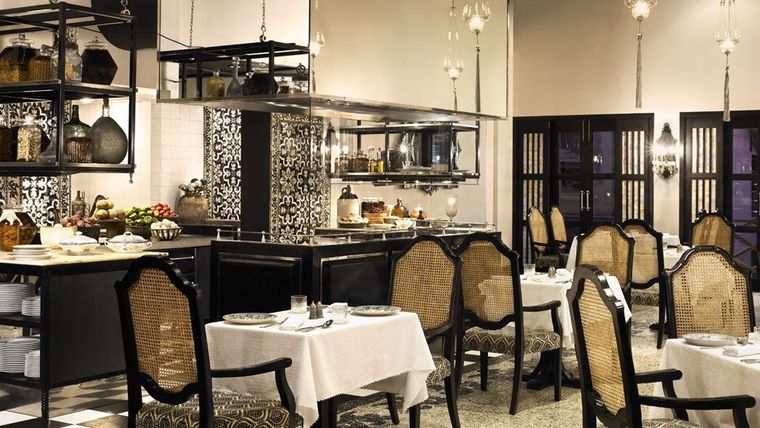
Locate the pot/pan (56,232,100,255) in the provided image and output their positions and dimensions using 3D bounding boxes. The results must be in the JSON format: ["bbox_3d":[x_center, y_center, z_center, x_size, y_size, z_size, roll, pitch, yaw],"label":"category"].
[{"bbox_3d":[-3.254,0.343,6.849,0.318,0.163,0.293,1,2,29],"label":"pot/pan"}]

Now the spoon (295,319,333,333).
[{"bbox_3d":[-0.523,0.942,5.190,0.090,0.055,0.365,2,0,32],"label":"spoon"}]

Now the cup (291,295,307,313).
[{"bbox_3d":[-0.745,0.831,5.707,0.159,0.127,0.139,0,-1,0],"label":"cup"}]

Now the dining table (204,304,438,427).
[{"bbox_3d":[-0.548,1.202,5.312,1.155,0.609,1.339,-2,-1,31],"label":"dining table"}]

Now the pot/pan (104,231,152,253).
[{"bbox_3d":[-2.886,0.339,7.114,0.288,0.146,0.341,-3,-3,41],"label":"pot/pan"}]

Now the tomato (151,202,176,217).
[{"bbox_3d":[-3.196,-0.041,9.213,0.391,0.157,0.326,11,1,2],"label":"tomato"}]

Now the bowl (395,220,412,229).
[{"bbox_3d":[0.311,0.133,8.228,0.177,0.105,0.352,0,3,12],"label":"bowl"}]

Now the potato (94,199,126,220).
[{"bbox_3d":[-3.672,-0.024,8.611,0.333,0.222,0.433,1,-2,-2],"label":"potato"}]

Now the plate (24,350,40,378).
[{"bbox_3d":[-3.510,1.527,6.354,0.281,0.286,0.082,2,5,39],"label":"plate"}]

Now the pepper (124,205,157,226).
[{"bbox_3d":[-3.311,0.032,8.731,0.283,0.170,0.316,2,-3,-12],"label":"pepper"}]

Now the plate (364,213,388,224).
[{"bbox_3d":[-0.035,0.061,8.193,0.135,0.143,0.468,2,4,30],"label":"plate"}]

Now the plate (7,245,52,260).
[{"bbox_3d":[-3.619,0.398,6.493,0.394,0.136,0.290,-1,3,-16],"label":"plate"}]

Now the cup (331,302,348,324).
[{"bbox_3d":[-0.336,0.869,5.415,0.164,0.155,0.154,0,-2,0],"label":"cup"}]

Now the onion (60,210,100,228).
[{"bbox_3d":[-3.553,0.074,7.452,0.275,0.178,0.461,0,3,10],"label":"onion"}]

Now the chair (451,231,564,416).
[{"bbox_3d":[1.324,1.109,6.534,1.152,1.802,0.811,-1,4,-2],"label":"chair"}]

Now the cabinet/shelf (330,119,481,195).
[{"bbox_3d":[0.438,-0.818,8.250,0.574,0.873,3.011,2,4,31],"label":"cabinet/shelf"}]
